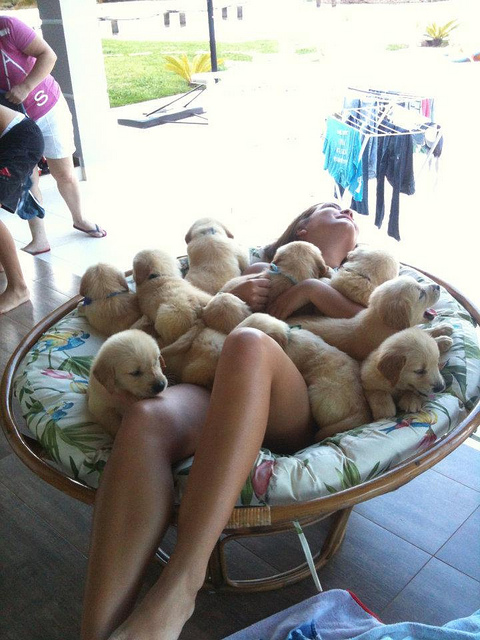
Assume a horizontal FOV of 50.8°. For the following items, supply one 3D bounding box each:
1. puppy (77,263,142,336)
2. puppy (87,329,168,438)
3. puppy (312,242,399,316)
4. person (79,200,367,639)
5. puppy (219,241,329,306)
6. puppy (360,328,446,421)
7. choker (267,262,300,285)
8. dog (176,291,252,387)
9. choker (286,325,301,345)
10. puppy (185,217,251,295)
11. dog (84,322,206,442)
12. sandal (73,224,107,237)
[{"bbox_3d":[-0.393,-0.064,1.501,0.204,0.215,0.203,-9,23,-21],"label":"puppy"},{"bbox_3d":[-0.236,0.139,1.065,0.149,0.179,0.227,-9,26,-21],"label":"puppy"},{"bbox_3d":[0.348,-0.156,1.529,0.166,0.182,0.267,39,56,22],"label":"puppy"},{"bbox_3d":[0.089,0.113,1.185,0.438,0.451,1.176,19,24,13],"label":"person"},{"bbox_3d":[0.102,-0.139,1.517,0.265,0.124,0.096,-34,70,-14],"label":"puppy"},{"bbox_3d":[0.353,0.108,1.138,0.145,0.190,0.192,-2,22,-8],"label":"puppy"},{"bbox_3d":[0.124,-0.141,1.540,0.088,0.033,0.153,21,12,-8],"label":"choker"},{"bbox_3d":[-0.064,0.031,1.273,0.140,0.145,0.249,23,57,0],"label":"dog"},{"bbox_3d":[0.131,0.034,1.222,0.023,0.030,0.067,4,75,11],"label":"choker"},{"bbox_3d":[-0.087,-0.189,1.717,0.186,0.188,0.297,-21,50,9],"label":"puppy"},{"bbox_3d":[-0.210,0.074,1.254,0.218,0.183,0.474,5,24,15],"label":"dog"},{"bbox_3d":[-1.028,-0.613,3.477,0.215,0.053,0.082,14,20,-13],"label":"sandal"}]
